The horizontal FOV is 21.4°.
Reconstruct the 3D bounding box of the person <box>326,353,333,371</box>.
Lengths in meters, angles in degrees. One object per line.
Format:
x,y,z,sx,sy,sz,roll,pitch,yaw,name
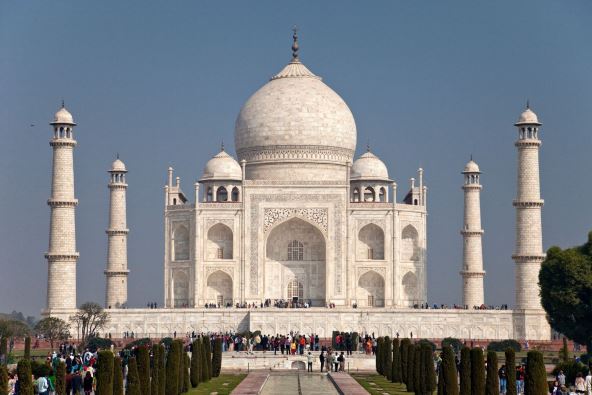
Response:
2.070,8.681,82.494,0.352,1.016,0.611,-1,-13,0,person
